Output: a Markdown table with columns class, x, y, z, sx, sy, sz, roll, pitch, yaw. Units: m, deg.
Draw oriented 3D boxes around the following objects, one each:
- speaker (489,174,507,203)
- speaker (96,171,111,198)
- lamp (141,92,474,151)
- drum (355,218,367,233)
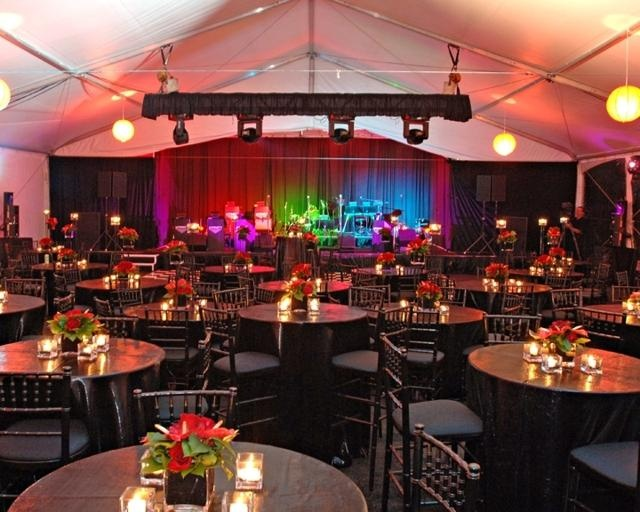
| class | x | y | z | sx | sy | sz | roll | pitch | yaw |
| --- | --- | --- | --- | --- | --- | --- | --- | --- | --- |
| speaker | 3.924 | -1.518 | 14.310 | 0.279 | 0.525 | 0.239 | -1 | 2 | 31 |
| speaker | -4.852 | -1.657 | 14.640 | 0.298 | 0.555 | 0.279 | 0 | 3 | 43 |
| lamp | -0.171 | -2.293 | 10.352 | 4.945 | 0.871 | 0.656 | -2 | 2 | 0 |
| drum | 1.105 | -0.851 | 17.732 | 0.243 | 0.367 | 0.121 | 4 | -2 | 1 |
